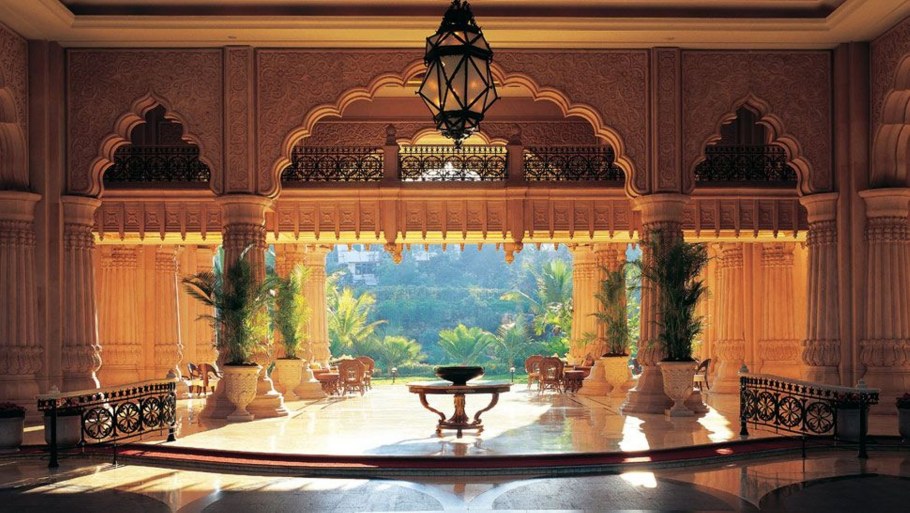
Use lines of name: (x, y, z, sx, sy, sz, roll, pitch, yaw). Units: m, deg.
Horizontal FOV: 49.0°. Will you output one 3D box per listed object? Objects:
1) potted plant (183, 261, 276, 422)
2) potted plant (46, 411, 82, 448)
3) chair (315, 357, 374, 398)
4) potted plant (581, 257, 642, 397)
potted plant: (-4.647, 1.707, 20.657, 1.277, 3.304, 0.969, 1, 9, 13)
potted plant: (-7.117, 3.135, 18.212, 0.771, 0.539, 0.774, 4, -8, -34)
chair: (-2.894, 3.142, 25.834, 1.096, 0.816, 1.335, -2, -15, 6)
potted plant: (3.962, 1.871, 25.738, 1.255, 3.411, 2.246, 0, 8, 7)
